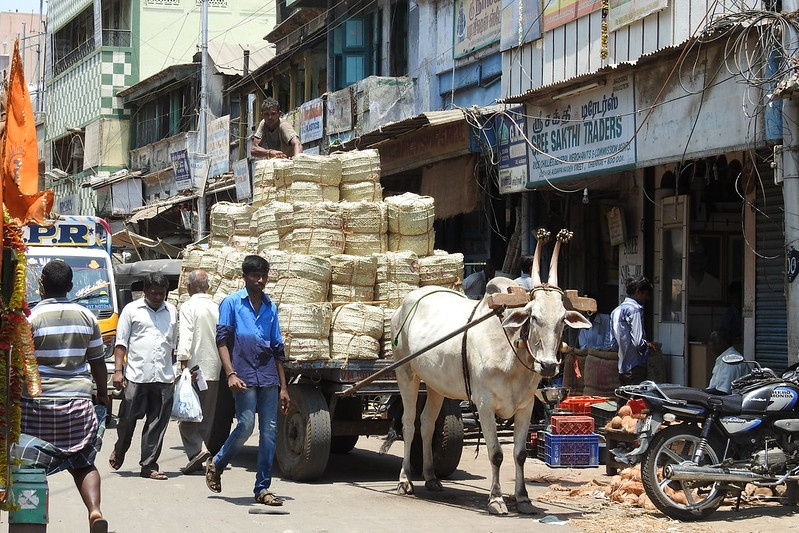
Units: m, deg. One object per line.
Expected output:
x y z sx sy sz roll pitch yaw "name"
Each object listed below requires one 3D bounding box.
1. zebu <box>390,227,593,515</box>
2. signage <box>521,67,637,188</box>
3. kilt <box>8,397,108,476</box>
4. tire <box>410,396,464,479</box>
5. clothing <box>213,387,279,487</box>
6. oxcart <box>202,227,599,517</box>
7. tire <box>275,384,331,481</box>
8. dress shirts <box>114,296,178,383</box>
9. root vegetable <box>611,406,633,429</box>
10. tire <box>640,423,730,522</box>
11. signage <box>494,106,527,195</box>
0.954 1.295 13.909 1.121 3.603 3.107 -1 2 -36 "zebu"
2.763 -2.111 17.640 0.097 1.470 2.188 -5 -2 -39 "signage"
-3.536 1.648 12.345 1.184 0.647 1.313 3 -4 -13 "kilt"
0.480 2.229 15.200 0.350 1.229 1.069 -3 7 -26 "tire"
-1.793 2.028 13.325 0.722 1.252 0.496 0 -6 17 "clothing"
-0.182 1.422 14.357 1.862 4.346 5.302 7 -14 -33 "oxcart"
-1.218 2.070 14.350 0.397 1.461 1.147 1 -1 -31 "tire"
-3.264 0.968 14.671 0.784 1.098 0.494 9 -16 -37 "dress shirts"
2.895 2.009 14.969 0.252 0.103 0.277 -18 23 29 "root vegetable"
3.190 2.413 13.395 0.896 1.193 1.030 2 -5 -9 "tire"
1.843 -1.984 19.021 0.186 2.064 1.339 0 -1 -15 "signage"
